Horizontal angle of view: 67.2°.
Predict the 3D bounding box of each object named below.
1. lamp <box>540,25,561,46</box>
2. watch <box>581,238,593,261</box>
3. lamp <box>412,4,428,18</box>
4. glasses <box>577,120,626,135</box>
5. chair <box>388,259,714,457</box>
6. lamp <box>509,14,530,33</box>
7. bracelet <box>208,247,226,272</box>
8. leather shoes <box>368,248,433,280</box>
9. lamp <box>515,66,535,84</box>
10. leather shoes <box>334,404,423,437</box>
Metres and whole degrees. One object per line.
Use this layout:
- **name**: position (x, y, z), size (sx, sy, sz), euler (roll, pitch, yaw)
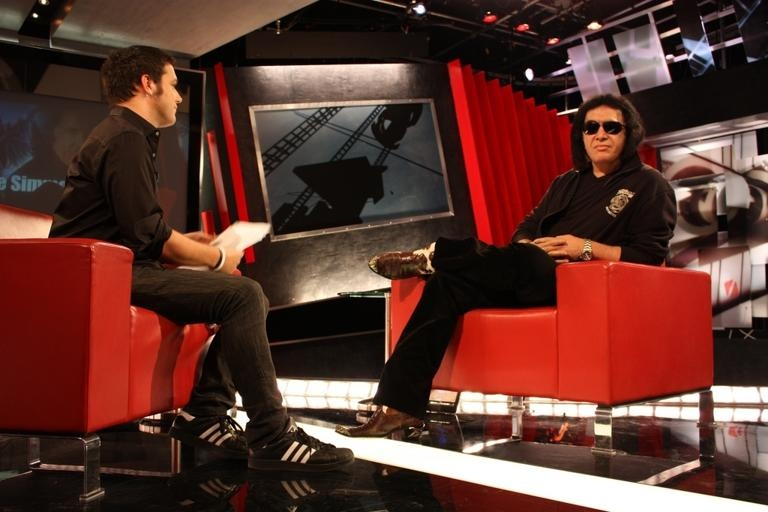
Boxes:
- **lamp**: position (2.303, -3.036, 7.970), size (0.145, 0.206, 0.242), euler (5, 19, 32)
- **watch**: position (0.980, -0.025, 2.801), size (0.063, 0.089, 0.095), euler (2, 16, 12)
- **lamp**: position (0.357, -2.523, 5.895), size (0.135, 0.119, 0.102), euler (-1, -2, -1)
- **glasses**: position (1.141, -0.671, 3.012), size (0.124, 0.038, 0.119), euler (0, -7, 23)
- **chair**: position (0.773, 0.427, 3.245), size (1.146, 0.773, 1.550), euler (3, -4, -43)
- **lamp**: position (1.838, -3.090, 7.795), size (0.197, 0.195, 0.057), euler (39, -8, 27)
- **bracelet**: position (-0.736, 0.007, 2.579), size (0.035, 0.087, 0.090), euler (10, -30, -38)
- **leather shoes**: position (0.099, 0.052, 3.111), size (0.420, 0.120, 0.163), euler (0, 1, 2)
- **lamp**: position (1.952, -2.487, 7.832), size (0.302, 0.120, 0.354), euler (-1, -4, -2)
- **leather shoes**: position (-0.004, 0.766, 2.724), size (0.472, 0.166, 0.142), euler (2, -9, 8)
